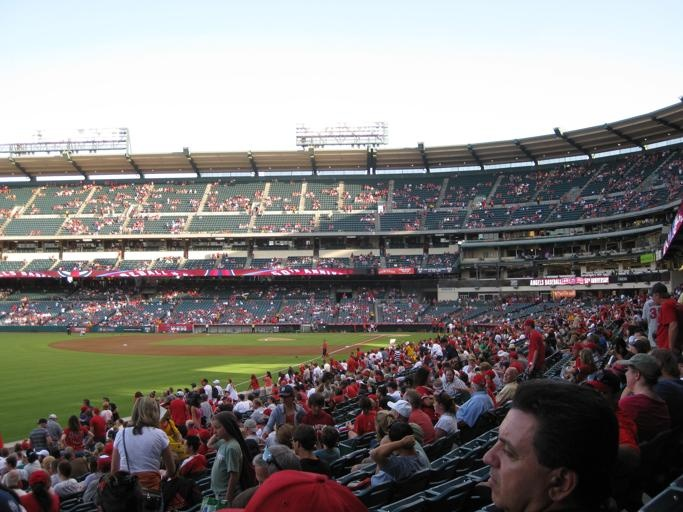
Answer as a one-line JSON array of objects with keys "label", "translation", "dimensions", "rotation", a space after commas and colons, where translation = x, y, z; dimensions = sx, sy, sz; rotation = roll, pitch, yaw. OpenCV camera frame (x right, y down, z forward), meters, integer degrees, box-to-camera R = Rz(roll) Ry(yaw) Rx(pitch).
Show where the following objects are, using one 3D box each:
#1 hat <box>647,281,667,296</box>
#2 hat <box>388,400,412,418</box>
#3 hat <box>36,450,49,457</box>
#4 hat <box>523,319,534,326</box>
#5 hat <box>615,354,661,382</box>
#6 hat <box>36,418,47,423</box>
[{"label": "hat", "translation": [11.314, 1.211, 28.877], "dimensions": [0.694, 0.498, 0.813], "rotation": [0, 4, -4]}, {"label": "hat", "translation": [1.930, 5.031, 27.266], "dimensions": [0.741, 0.341, 0.505], "rotation": [28, 24, 29]}, {"label": "hat", "translation": [-11.598, 7.598, 31.376], "dimensions": [0.344, 0.208, 0.534], "rotation": [20, -18, -35]}, {"label": "hat", "translation": [7.176, 2.563, 31.248], "dimensions": [0.343, 0.235, 0.236], "rotation": [-9, 17, -36]}, {"label": "hat", "translation": [9.154, 3.354, 25.102], "dimensions": [1.164, 0.506, 0.713], "rotation": [13, 3, 26]}, {"label": "hat", "translation": [-12.253, 6.757, 33.181], "dimensions": [0.323, 0.285, 0.517], "rotation": [3, -16, -17]}]
